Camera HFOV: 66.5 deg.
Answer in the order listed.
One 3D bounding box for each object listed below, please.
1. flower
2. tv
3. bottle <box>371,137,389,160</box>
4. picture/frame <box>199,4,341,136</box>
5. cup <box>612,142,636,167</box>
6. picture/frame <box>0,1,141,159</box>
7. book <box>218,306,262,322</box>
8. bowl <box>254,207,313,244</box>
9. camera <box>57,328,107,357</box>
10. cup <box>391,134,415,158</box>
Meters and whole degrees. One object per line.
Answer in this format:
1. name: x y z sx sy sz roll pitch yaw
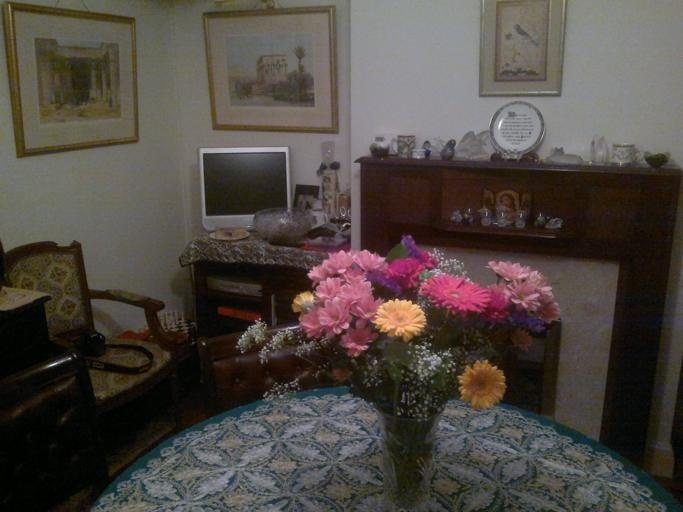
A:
1. flower: 0.106 0.137 1.470 0.714 0.613 0.711 -5 12 -16
2. tv: -0.671 -0.481 3.637 0.610 0.529 0.062 -2 14 -1
3. bottle: 0.208 -0.596 2.879 0.119 0.115 0.119 2 11 15
4. picture/frame: -0.472 -1.338 3.668 0.946 0.700 0.018 7 20 20
5. cup: 1.340 -0.484 2.488 0.109 0.086 0.105 -4 16 1
6. picture/frame: -1.621 -1.071 3.222 0.097 0.849 0.903 6 17 23
7. book: -0.709 0.404 3.674 0.189 0.045 0.181 8 4 14
8. bowl: -0.420 -0.183 3.561 0.442 0.234 0.438 1 8 0
9. camera: -1.449 0.460 2.896 0.256 0.077 0.181 10 16 16
10. cup: 0.332 -0.614 2.894 0.125 0.127 0.127 0 15 0
